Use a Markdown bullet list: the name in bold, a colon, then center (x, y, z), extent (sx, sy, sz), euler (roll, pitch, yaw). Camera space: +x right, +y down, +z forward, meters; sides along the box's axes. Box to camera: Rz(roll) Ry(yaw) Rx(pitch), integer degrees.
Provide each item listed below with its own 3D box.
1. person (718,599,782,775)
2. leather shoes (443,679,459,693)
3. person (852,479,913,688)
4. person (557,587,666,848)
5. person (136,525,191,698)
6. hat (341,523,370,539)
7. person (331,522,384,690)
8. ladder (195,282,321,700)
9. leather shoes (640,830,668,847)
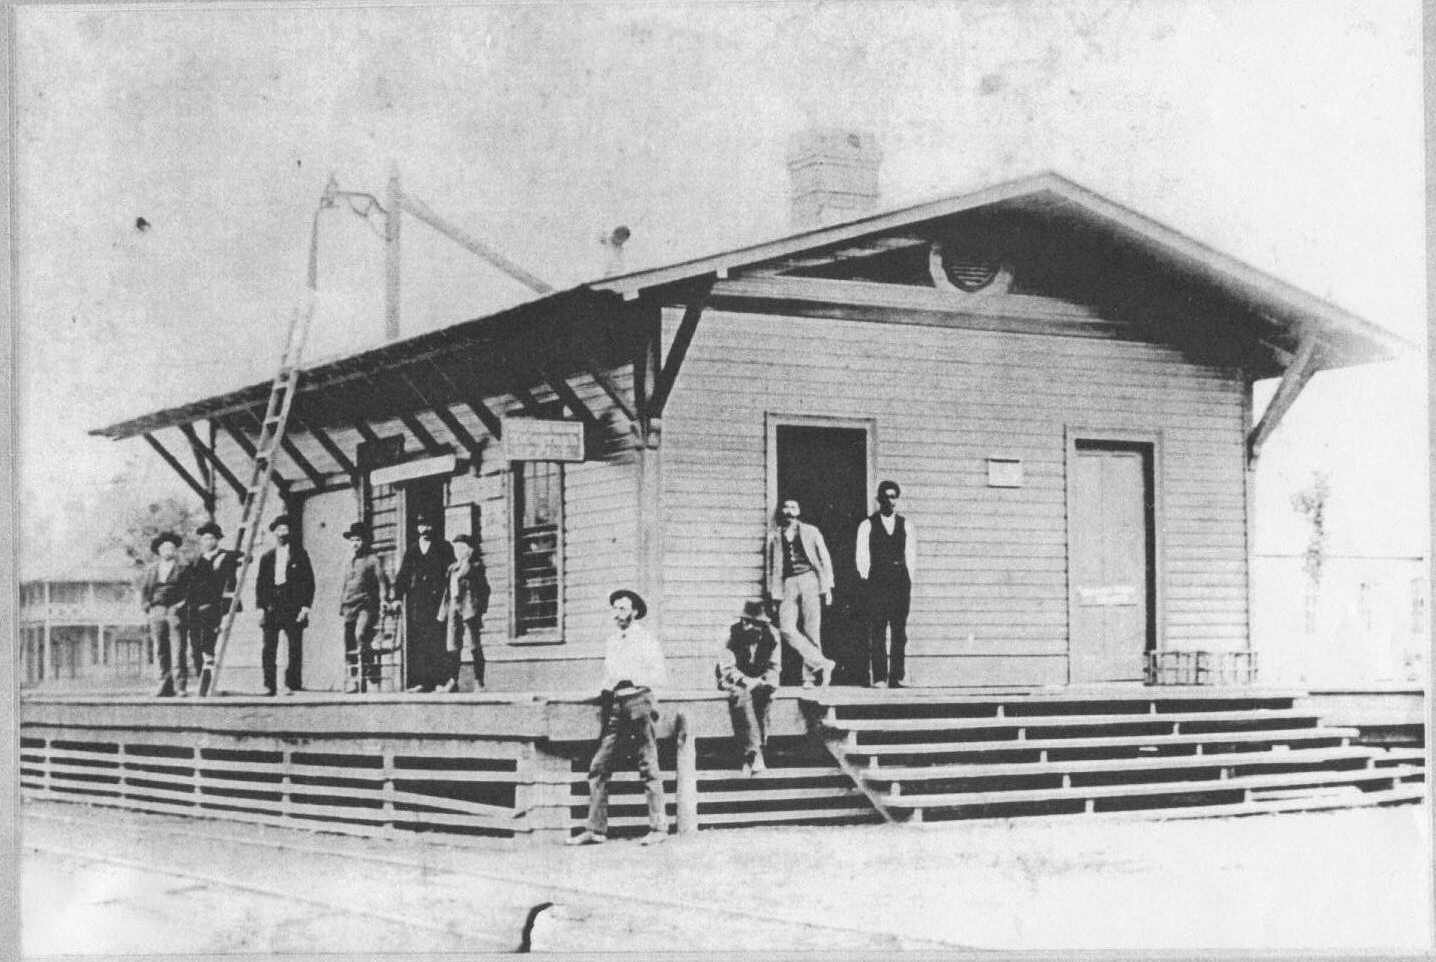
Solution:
- **person**: center (0.188, 1.494, 12.898), extent (0.418, 1.243, 0.560), euler (-1, 1, -6)
- **leather shoes**: center (-1.961, 1.483, 12.797), extent (0.161, 0.088, 0.079), euler (1, -2, 16)
- **person**: center (1.210, 0.742, 12.918), extent (0.434, 1.470, 0.182), euler (3, -6, -2)
- **person**: center (-0.664, 1.690, 12.612), extent (0.682, 1.821, 0.208), euler (3, -6, -4)
- **person**: center (-4.090, 0.971, 12.921), extent (0.336, 1.183, 0.394), euler (5, -6, -17)
- **hat**: center (-2.685, 0.368, 12.981), extent (0.121, 0.050, 0.137), euler (-11, -15, 33)
- **person**: center (-2.631, 0.921, 12.923), extent (0.329, 1.239, 0.092), euler (1, -6, 15)
- **ladder**: center (-3.377, 0.081, 12.822), extent (0.304, 2.983, 1.006), euler (7, -7, -35)
- **leather shoes**: center (-0.464, 2.548, 12.610), extent (0.161, 0.071, 0.099), euler (3, -5, -15)
